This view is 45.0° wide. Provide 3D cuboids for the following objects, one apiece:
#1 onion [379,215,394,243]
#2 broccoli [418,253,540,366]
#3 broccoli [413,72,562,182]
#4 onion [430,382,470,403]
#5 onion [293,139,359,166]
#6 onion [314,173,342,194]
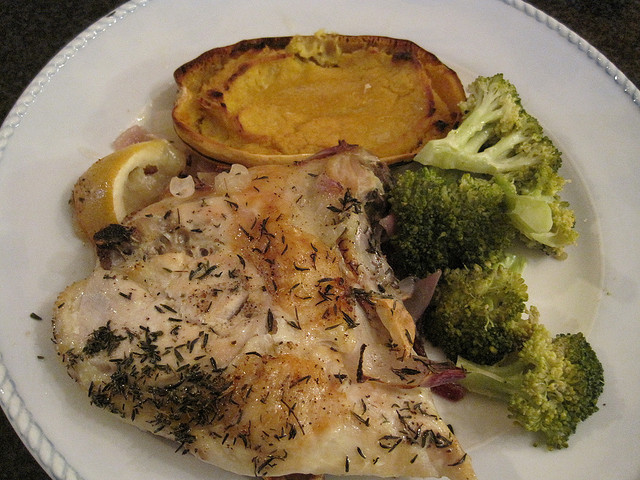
[{"bbox_3d":[0.472,-0.082,5.642,0.057,0.116,0.161,12,92,-20],"label":"onion"},{"bbox_3d":[1.130,0.501,5.745,0.843,0.966,0.685,-11,119,-20],"label":"broccoli"},{"bbox_3d":[1.277,-0.672,5.985,0.890,0.470,0.805,-40,82,-11],"label":"broccoli"},{"bbox_3d":[0.951,1.103,5.547,0.291,0.097,0.150,3,91,5],"label":"onion"},{"bbox_3d":[0.040,-0.636,5.623,0.489,0.214,0.120,-15,84,-3],"label":"onion"},{"bbox_3d":[0.061,-0.397,5.403,0.185,0.038,0.129,-8,85,-2],"label":"onion"}]
